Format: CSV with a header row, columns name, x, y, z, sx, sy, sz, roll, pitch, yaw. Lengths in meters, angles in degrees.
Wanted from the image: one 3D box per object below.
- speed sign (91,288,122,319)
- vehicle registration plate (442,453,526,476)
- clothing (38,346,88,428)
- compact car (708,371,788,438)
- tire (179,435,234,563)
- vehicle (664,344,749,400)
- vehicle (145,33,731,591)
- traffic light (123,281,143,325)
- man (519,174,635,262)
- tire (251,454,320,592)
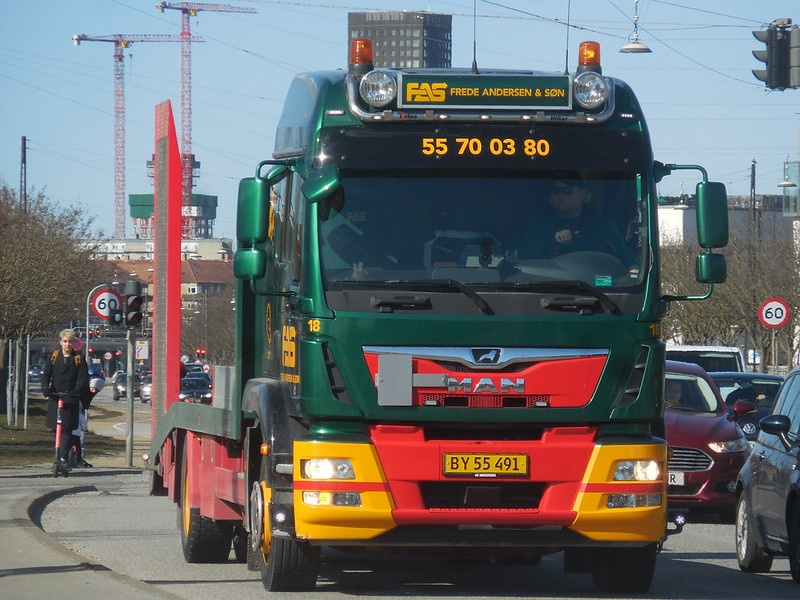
name,x,y,z,sx,sy,sz,roll,pitch,yaw
speed sign,-5.740,0.066,31.987,0.030,0.752,0.711,-22,-21,39
vehicle registration plate,0.741,1.424,14.139,0.734,0.147,0.020,1,-1,-3
clothing,-5.403,1.410,26.394,0.736,1.232,0.481,1,0,-12
compact car,5.293,1.466,24.234,0.829,0.789,1.510,0,-10,-5
tire,-1.947,2.028,16.614,0.430,1.471,1.383,1,0,-16
vehicle,5.391,1.327,28.876,1.522,0.930,1.041,-1,1,1
vehicle,0.006,0.159,15.209,5.281,3.798,3.053,1,0,38
traffic light,-4.771,0.067,29.321,0.338,0.723,0.920,1,0,-10
man,1.537,-0.659,14.745,0.632,0.978,0.358,-5,0,0
tire,-1.007,1.958,14.628,0.407,1.290,1.220,1,4,-9
